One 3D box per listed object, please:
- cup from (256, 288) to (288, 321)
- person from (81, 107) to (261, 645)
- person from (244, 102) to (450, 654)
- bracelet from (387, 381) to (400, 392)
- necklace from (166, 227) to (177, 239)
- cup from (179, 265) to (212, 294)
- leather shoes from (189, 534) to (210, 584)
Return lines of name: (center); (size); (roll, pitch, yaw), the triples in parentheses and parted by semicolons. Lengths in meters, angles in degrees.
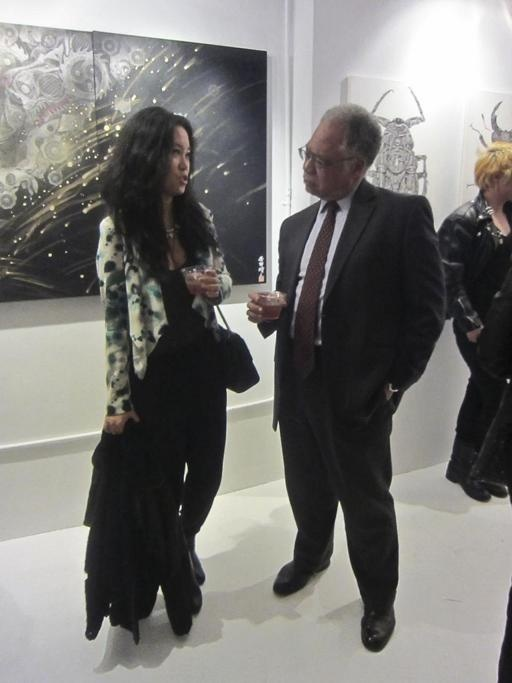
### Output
cup: (0.044, -0.107, 1.532); (0.063, 0.067, 0.075); (1, 8, 7)
person: (-0.259, 0.157, 1.596); (0.353, 1.640, 0.562); (7, 13, 37)
person: (0.266, 0.139, 1.668); (0.279, 1.652, 0.600); (-10, 14, -44)
bracelet: (0.390, 0.132, 1.502); (0.026, 0.027, 0.007); (-41, -28, 30)
necklace: (-0.262, -0.332, 1.612); (0.039, 0.048, 0.014); (-6, 0, -16)
cup: (-0.170, -0.177, 1.474); (0.108, 0.058, 0.045); (4, 12, 21)
leather shoes: (-0.214, 0.837, 1.997); (0.056, 0.142, 0.181); (-9, -1, -5)
